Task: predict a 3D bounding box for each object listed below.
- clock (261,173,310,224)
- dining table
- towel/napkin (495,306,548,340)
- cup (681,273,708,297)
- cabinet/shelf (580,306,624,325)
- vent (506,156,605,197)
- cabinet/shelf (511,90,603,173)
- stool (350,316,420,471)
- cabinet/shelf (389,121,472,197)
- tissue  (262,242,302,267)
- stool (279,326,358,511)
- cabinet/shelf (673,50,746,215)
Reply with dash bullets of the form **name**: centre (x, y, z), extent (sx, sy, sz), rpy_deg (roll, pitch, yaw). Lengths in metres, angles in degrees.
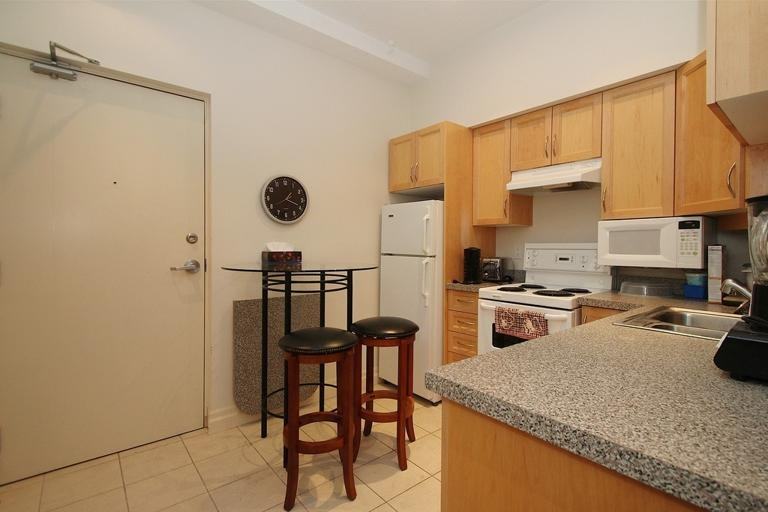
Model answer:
- **clock**: centre (-0.805, -0.462, 4.105), extent (0.455, 0.435, 0.047), rpy_deg (0, -4, -36)
- **dining table**: centre (-0.500, 0.562, 4.003), extent (1.348, 1.343, 1.214), rpy_deg (1, -3, -32)
- **towel/napkin**: centre (0.992, 0.467, 3.686), extent (0.259, 0.148, 0.045), rpy_deg (5, 9, 45)
- **cup**: centre (2.127, 0.207, 3.525), extent (0.161, 0.163, 0.141), rpy_deg (-1, -3, 42)
- **cabinet/shelf**: centre (1.487, 0.389, 3.533), extent (0.147, 0.190, 0.203), rpy_deg (0, 1, -27)
- **vent**: centre (1.339, -0.620, 4.017), extent (0.724, 0.190, 0.425), rpy_deg (-2, -1, 43)
- **cabinet/shelf**: centre (1.410, -0.905, 4.080), extent (0.383, 0.453, 0.753), rpy_deg (4, -4, -44)
- **stool**: centre (0.017, 0.927, 3.740), extent (0.444, 0.671, 0.669), rpy_deg (-1, 0, 1)
- **cabinet/shelf**: centre (0.414, -0.837, 4.636), extent (0.401, 0.525, 0.794), rpy_deg (1, 0, -36)
- **tissue **: centre (-0.756, 0.000, 3.740), extent (0.213, 0.134, 0.229), rpy_deg (-2, -2, 25)
- **stool**: centre (-0.403, 0.999, 3.310), extent (0.491, 0.815, 0.406), rpy_deg (-1, 0, -9)
- **cabinet/shelf**: centre (2.052, -0.779, 3.289), extent (0.382, 1.001, 0.221), rpy_deg (-1, 1, 33)
